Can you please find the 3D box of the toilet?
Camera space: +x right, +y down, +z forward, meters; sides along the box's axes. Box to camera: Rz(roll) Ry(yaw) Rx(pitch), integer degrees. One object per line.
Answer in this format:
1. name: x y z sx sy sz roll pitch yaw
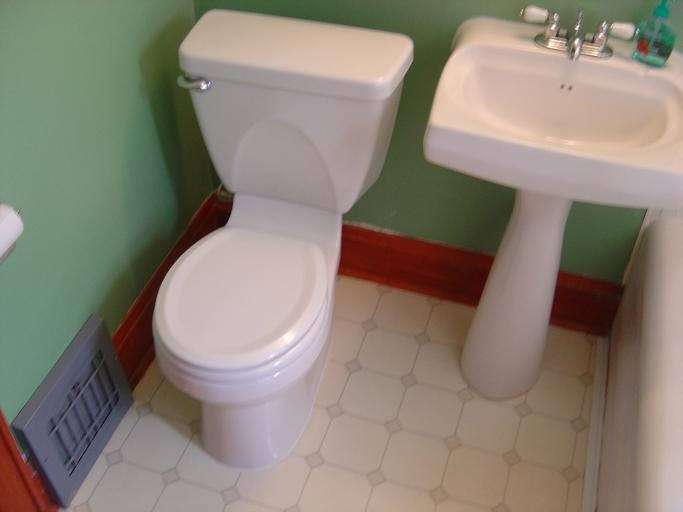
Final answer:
1. toilet: -0.165 -0.011 1.602 0.619 0.968 0.847 6 43 5
